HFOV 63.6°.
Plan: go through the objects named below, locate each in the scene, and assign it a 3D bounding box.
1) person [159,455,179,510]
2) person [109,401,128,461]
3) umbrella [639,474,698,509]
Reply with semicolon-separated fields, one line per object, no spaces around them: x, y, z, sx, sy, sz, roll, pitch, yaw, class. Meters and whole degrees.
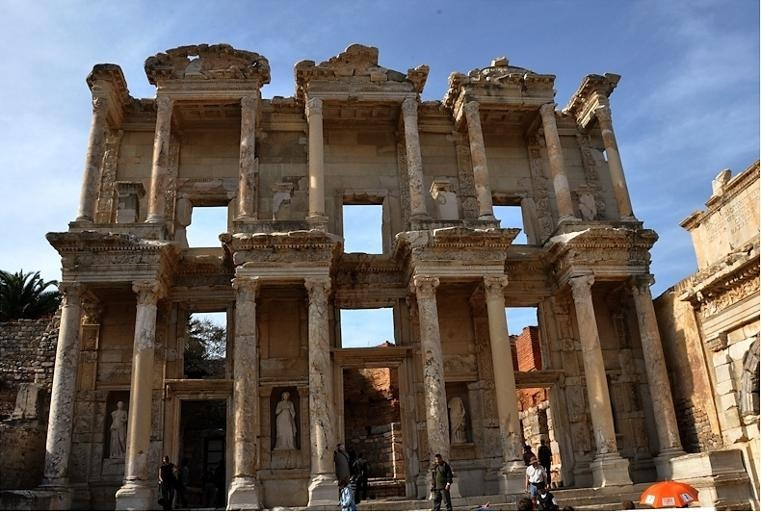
-6.353;6.815;18.421;0.530;1.494;1.352;7;-27;-16;person
-8.656;5.727;20.339;0.604;1.850;0.816;9;-28;-20;person
6.795;5.580;14.361;1.167;0.603;1.082;-6;-25;9;umbrella
